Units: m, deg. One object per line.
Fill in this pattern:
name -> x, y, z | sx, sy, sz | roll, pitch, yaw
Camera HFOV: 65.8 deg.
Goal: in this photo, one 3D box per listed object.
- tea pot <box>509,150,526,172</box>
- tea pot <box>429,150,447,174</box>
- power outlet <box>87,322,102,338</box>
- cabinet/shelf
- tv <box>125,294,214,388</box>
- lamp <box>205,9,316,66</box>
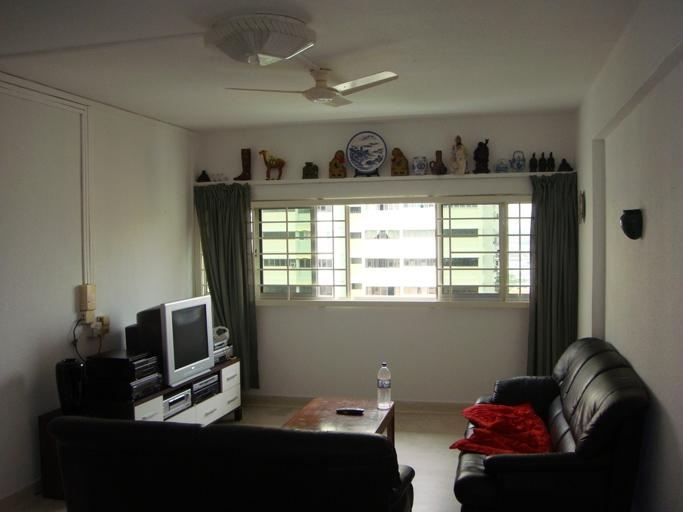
tea pot -> 1.824, -0.971, 5.439 | 0.134, 0.220, 0.210 | 0, -2, 6
tea pot -> 1.029, -0.982, 5.577 | 0.219, 0.319, 0.155 | 2, 8, 24
power outlet -> -2.202, 0.658, 4.706 | 0.050, 0.138, 0.117 | -1, 3, 21
cabinet/shelf -> -1.410, 1.411, 5.003 | 0.371, 0.606, 1.227 | -3, 1, 20
tv -> -1.452, 0.753, 4.918 | 0.723, 0.799, 0.658 | 1, 3, 19
lamp -> -0.542, -1.416, 3.450 | 0.736, 0.236, 0.280 | -3, 2, 0
